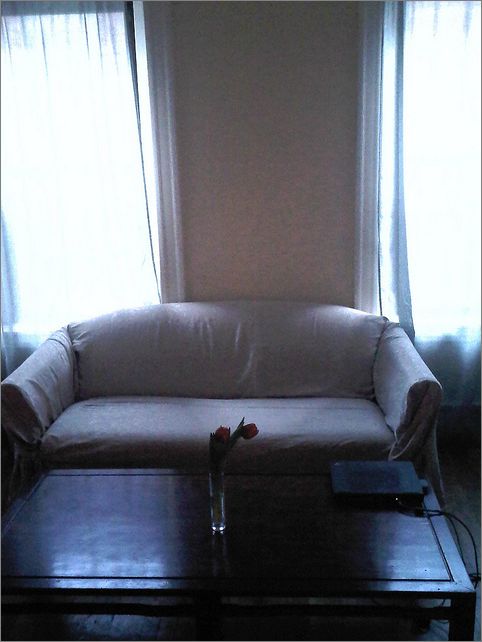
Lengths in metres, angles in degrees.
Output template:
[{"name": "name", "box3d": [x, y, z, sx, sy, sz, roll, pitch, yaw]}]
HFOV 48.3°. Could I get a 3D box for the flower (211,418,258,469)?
[{"name": "flower", "box3d": [-0.020, 0.271, 1.189, 0.097, 0.118, 0.084, -4, 9, -16]}]
